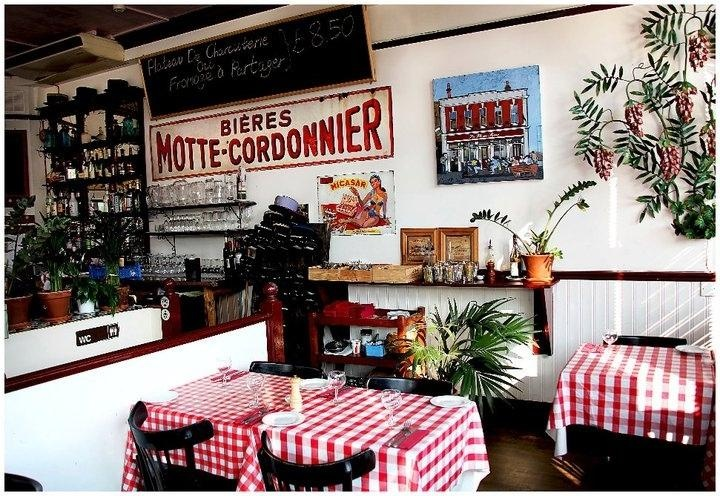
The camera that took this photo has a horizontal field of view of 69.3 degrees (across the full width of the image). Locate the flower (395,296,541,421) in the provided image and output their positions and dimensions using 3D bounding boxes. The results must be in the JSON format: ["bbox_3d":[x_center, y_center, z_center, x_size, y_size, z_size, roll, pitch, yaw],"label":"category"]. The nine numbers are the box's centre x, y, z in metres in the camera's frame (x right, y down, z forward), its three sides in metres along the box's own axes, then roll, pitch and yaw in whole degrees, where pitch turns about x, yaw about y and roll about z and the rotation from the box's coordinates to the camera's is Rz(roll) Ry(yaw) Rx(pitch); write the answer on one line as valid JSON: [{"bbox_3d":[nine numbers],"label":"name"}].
[{"bbox_3d":[0.870,0.980,4.562,0.849,0.971,0.938,4,2,6],"label":"flower"}]

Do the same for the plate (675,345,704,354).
[{"bbox_3d":[2.653,0.815,4.171,0.106,0.021,0.081,8,13,27],"label":"plate"}]

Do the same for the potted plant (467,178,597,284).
[{"bbox_3d":[1.632,-0.044,5.138,0.941,0.765,0.999,-4,-14,-6],"label":"potted plant"}]

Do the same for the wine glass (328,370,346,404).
[{"bbox_3d":[-0.157,0.952,3.556,0.139,0.206,0.139,6,-11,-40],"label":"wine glass"}]

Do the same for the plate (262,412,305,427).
[{"bbox_3d":[-0.469,1.054,3.191,0.247,0.025,0.191,-2,1,-28],"label":"plate"}]

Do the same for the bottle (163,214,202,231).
[{"bbox_3d":[-2.241,-0.305,6.574,0.435,0.116,0.255,1,2,34],"label":"bottle"}]

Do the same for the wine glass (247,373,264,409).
[{"bbox_3d":[-0.696,0.989,3.506,0.129,0.208,0.124,-2,24,-17],"label":"wine glass"}]

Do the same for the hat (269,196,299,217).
[{"bbox_3d":[-0.807,-0.458,5.550,0.302,0.201,0.186,-2,1,-14],"label":"hat"}]

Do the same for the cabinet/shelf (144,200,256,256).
[{"bbox_3d":[-1.995,-0.205,6.511,1.399,0.705,0.248,-2,-5,29],"label":"cabinet/shelf"}]

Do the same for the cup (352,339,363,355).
[{"bbox_3d":[-0.028,1.022,5.359,0.126,0.138,0.124,1,9,0],"label":"cup"}]

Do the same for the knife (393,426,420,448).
[{"bbox_3d":[0.277,1.075,2.951,0.132,0.047,0.247,-1,1,17],"label":"knife"}]

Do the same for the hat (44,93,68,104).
[{"bbox_3d":[-4.429,-2.166,7.540,0.323,0.153,0.236,-1,6,4],"label":"hat"}]

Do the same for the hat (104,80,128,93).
[{"bbox_3d":[-3.262,-2.184,6.968,0.292,0.162,0.147,-7,-9,-22],"label":"hat"}]

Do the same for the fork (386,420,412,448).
[{"bbox_3d":[0.227,1.055,2.971,0.051,0.049,0.353,-4,1,17],"label":"fork"}]

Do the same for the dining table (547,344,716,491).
[{"bbox_3d":[2.058,1.208,3.922,1.039,0.751,0.876,-1,1,35],"label":"dining table"}]
